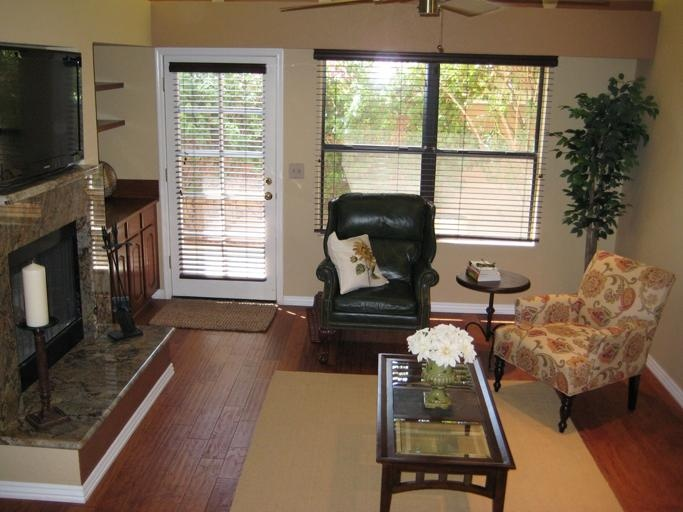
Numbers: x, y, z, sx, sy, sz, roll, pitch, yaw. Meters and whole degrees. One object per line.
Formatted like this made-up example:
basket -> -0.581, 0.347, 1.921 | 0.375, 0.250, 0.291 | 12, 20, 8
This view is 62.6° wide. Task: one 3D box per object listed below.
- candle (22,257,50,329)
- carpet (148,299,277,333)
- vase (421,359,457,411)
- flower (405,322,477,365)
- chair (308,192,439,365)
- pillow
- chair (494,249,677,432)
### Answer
candle -> -1.821, 0.227, 3.318 | 0.145, 0.339, 0.228 | -11, 20, -29
carpet -> -1.298, 0.592, 5.747 | 1.230, 0.086, 0.724 | 0, 17, 3
vase -> 0.567, 0.788, 3.520 | 0.252, 0.356, 0.243 | 0, 16, 2
flower -> 0.643, 0.581, 3.715 | 0.306, 0.125, 0.298 | 23, 49, 31
chair -> 0.383, 0.145, 5.372 | 1.312, 1.745, 1.351 | 1, 17, 1
pillow -> 0.120, 0.070, 4.885 | 0.503, 0.518, 0.150 | -10, -13, -38
chair -> 1.818, 0.526, 4.822 | 1.447, 1.570, 1.109 | -6, 18, -26
